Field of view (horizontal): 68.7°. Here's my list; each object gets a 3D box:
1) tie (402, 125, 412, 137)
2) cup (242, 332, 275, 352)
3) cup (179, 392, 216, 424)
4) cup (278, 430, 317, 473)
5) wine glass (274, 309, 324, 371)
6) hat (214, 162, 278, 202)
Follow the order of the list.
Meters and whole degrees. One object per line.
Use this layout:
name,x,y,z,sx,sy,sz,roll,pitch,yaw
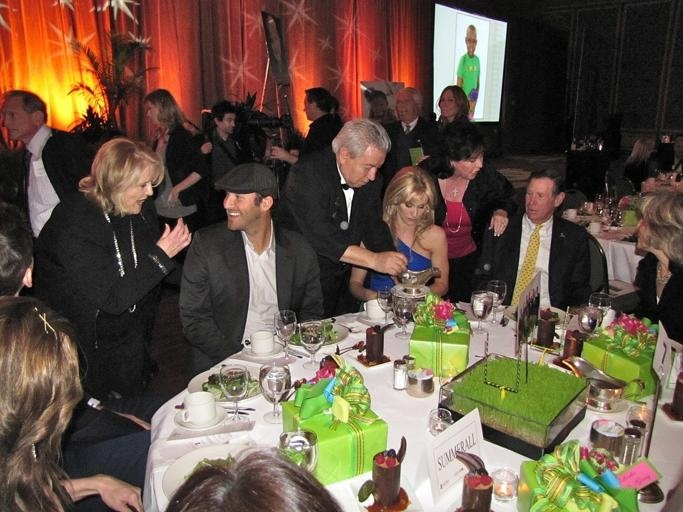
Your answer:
tie,0.725,-1.387,5.567,0.099,0.103,0.031,7,3,37
cup,-0.380,0.384,2.226,0.115,0.082,0.086,-3,11,-11
cup,-0.497,0.536,1.750,0.083,0.083,0.111,16,20,37
cup,-0.129,0.571,1.435,0.114,0.120,0.083,0,12,7
wine glass,-0.189,0.374,2.162,0.186,0.175,0.077,10,22,24
hat,-0.476,-0.384,2.565,0.246,0.116,0.188,5,6,-25
